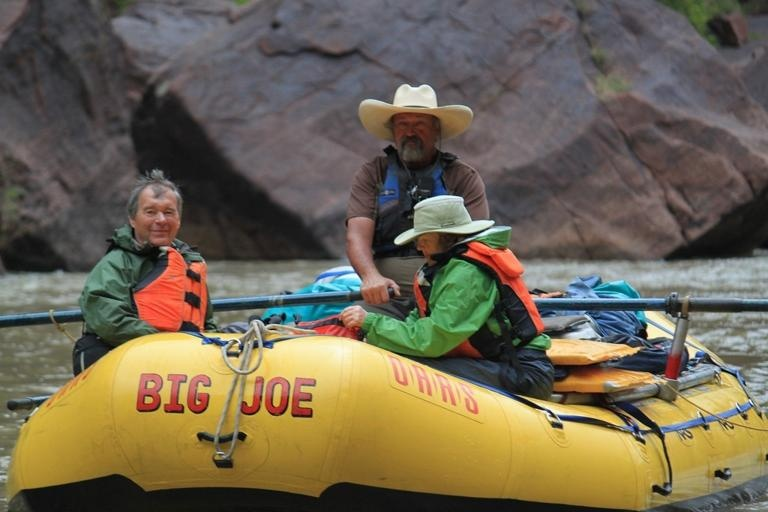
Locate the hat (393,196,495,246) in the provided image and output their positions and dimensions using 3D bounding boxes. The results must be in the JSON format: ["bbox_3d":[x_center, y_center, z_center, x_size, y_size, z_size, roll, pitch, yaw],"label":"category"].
[{"bbox_3d":[0.651,-0.432,19.809,0.753,0.304,0.727,-11,2,-15],"label":"hat"}]

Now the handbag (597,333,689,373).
[{"bbox_3d":[3.192,1.214,20.384,0.724,0.250,0.566,4,3,14],"label":"handbag"}]
